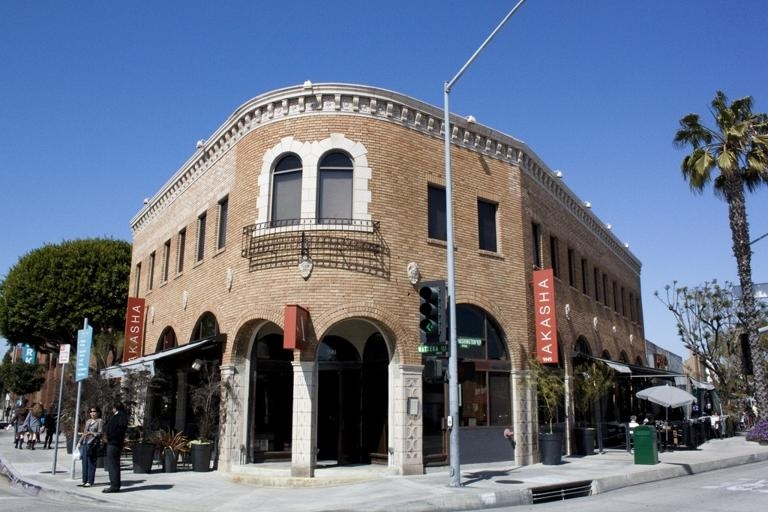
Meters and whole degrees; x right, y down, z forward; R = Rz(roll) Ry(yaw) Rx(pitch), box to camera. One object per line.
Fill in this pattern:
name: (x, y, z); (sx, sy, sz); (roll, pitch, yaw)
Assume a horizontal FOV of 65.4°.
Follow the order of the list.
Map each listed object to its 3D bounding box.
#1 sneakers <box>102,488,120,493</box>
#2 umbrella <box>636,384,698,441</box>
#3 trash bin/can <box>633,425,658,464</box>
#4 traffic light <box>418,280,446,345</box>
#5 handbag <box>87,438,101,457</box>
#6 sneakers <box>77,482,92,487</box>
sneakers: (-8.851, 7.550, 19.340); (0.569, 0.168, 0.206); (-4, -23, 6)
umbrella: (13.883, 7.851, 28.903); (2.640, 2.098, 2.863); (0, -3, -3)
trash bin/can: (10.351, 7.481, 23.745); (0.895, 1.498, 0.768); (-8, -23, 18)
traffic light: (1.482, 1.699, 18.620); (0.807, 1.875, 1.095); (-20, -28, 39)
handbag: (-9.658, 6.355, 19.913); (0.342, 0.661, 0.479); (-19, -23, 37)
sneakers: (-9.971, 7.614, 19.957); (0.521, 0.130, 0.221); (-7, -23, 13)
